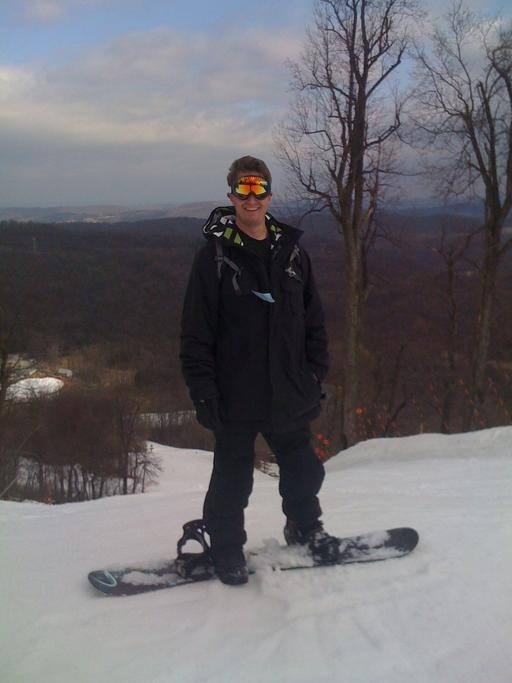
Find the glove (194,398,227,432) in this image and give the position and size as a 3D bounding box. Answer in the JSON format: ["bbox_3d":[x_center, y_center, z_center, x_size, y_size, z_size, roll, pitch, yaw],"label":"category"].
[{"bbox_3d":[-0.217,0.368,3.172,0.140,0.151,0.058,2,-1,14],"label":"glove"}]

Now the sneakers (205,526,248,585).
[{"bbox_3d":[-0.163,1.087,3.201,0.127,0.150,0.346,0,1,-18],"label":"sneakers"}]

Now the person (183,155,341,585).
[{"bbox_3d":[0.006,0.120,3.316,0.860,2.172,0.313,-1,-1,-33],"label":"person"}]

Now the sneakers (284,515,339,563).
[{"bbox_3d":[0.331,1.086,3.448,0.397,0.253,0.134,-7,-21,23],"label":"sneakers"}]
